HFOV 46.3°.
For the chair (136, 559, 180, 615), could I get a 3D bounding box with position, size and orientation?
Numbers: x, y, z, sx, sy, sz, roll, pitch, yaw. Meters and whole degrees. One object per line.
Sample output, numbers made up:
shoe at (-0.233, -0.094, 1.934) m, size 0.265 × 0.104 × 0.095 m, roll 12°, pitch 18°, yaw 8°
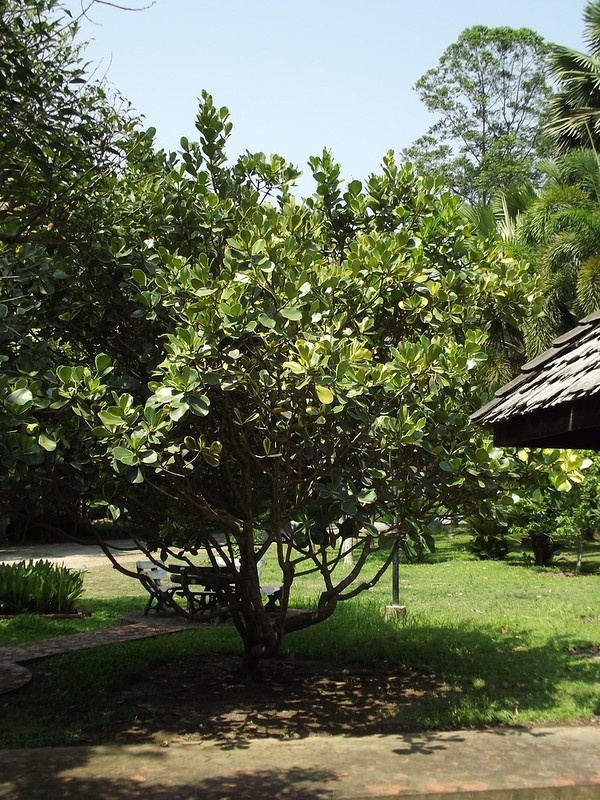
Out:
chair at (-2.661, 3.660, 13.680) m, size 0.931 × 0.949 × 1.001 m, roll 2°, pitch -11°, yaw 22°
